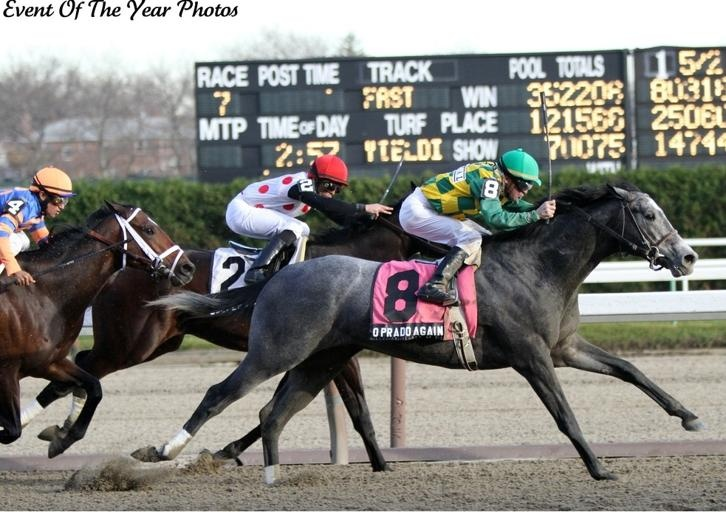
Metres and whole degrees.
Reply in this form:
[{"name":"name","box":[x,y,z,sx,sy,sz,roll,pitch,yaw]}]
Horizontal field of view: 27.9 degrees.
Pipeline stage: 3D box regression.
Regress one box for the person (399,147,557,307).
[{"name":"person","box":[0.941,-0.268,12.112,1.294,1.271,0.908,14,7,38]}]

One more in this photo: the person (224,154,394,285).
[{"name":"person","box":[-0.463,-0.303,12.592,1.512,1.063,0.612,5,-2,10]}]

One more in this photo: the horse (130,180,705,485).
[{"name":"horse","box":[0.343,0.629,11.881,4.672,2.179,0.766,-1,-11,8]}]

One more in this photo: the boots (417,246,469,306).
[{"name":"boots","box":[0.655,0.169,11.523,0.395,0.432,0.224,-10,14,-37]}]

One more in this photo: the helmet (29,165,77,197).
[{"name":"helmet","box":[-2.562,-0.633,12.122,0.328,0.185,0.221,19,17,-10]}]

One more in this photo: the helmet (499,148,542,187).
[{"name":"helmet","box":[1.282,-0.750,11.886,0.435,0.245,0.315,16,13,13]}]

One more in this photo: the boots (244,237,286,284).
[{"name":"boots","box":[-0.815,0.052,12.204,0.244,0.338,0.120,28,-14,49]}]

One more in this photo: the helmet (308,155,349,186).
[{"name":"helmet","box":[-0.267,-0.724,12.371,0.314,0.175,0.224,17,3,29]}]
